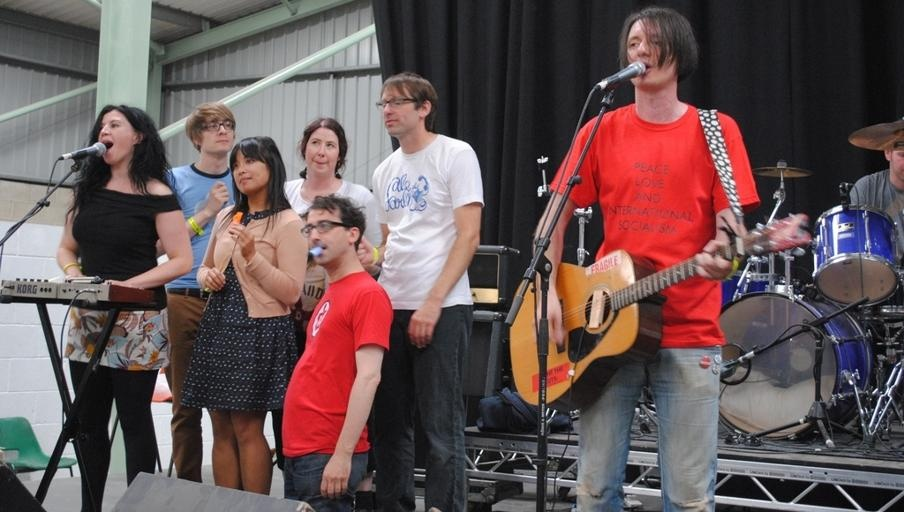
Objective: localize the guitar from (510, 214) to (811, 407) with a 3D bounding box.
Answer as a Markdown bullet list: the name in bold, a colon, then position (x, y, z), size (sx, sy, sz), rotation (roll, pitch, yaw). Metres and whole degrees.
- **guitar**: position (0.975, 0.383, 5.642), size (2.016, 0.975, 0.276), rotation (-23, -26, 38)

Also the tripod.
- **tripod**: position (2.646, 0.928, 7.136), size (0.542, 0.821, 1.029), rotation (1, 4, -44)

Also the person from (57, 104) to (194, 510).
- **person**: position (-2.226, 0.318, 6.248), size (0.868, 2.696, 0.402), rotation (2, -3, -11)
